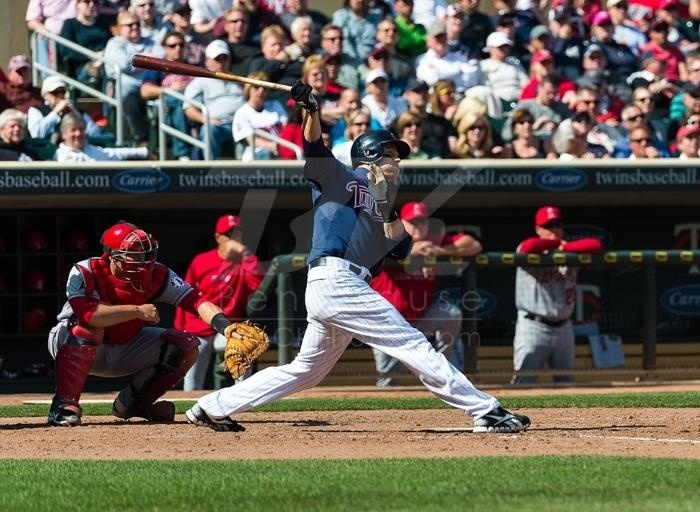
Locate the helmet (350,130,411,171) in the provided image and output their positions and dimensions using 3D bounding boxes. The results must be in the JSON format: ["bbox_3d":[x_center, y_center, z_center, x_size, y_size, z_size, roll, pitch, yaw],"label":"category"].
[{"bbox_3d":[0.245,-0.822,12.320,0.385,0.216,0.289,10,-12,8],"label":"helmet"}]

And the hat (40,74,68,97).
[{"bbox_3d":[-2.871,-1.655,15.672,0.184,0.167,0.230,-3,-18,-29],"label":"hat"}]

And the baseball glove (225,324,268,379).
[{"bbox_3d":[-0.871,0.733,12.656,0.358,0.412,0.205,20,-10,-27],"label":"baseball glove"}]

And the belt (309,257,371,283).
[{"bbox_3d":[-0.060,0.096,12.142,0.468,0.222,0.175,-1,13,-1],"label":"belt"}]

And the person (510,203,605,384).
[{"bbox_3d":[1.920,0.600,14.708,0.801,1.861,0.719,2,9,8],"label":"person"}]

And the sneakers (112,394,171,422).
[{"bbox_3d":[-1.667,1.233,13.051,0.392,0.145,0.215,0,-2,-2],"label":"sneakers"}]

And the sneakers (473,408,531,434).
[{"bbox_3d":[1.167,1.253,12.354,0.498,0.194,0.169,-4,5,-15],"label":"sneakers"}]

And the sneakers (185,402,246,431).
[{"bbox_3d":[-1.061,1.264,12.515,0.484,0.198,0.166,18,10,-18],"label":"sneakers"}]

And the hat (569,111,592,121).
[{"bbox_3d":[2.312,-1.382,15.959,0.190,0.085,0.232,2,12,14],"label":"hat"}]

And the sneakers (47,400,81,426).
[{"bbox_3d":[-2.265,1.253,12.866,0.142,0.129,0.324,5,-8,-41],"label":"sneakers"}]
